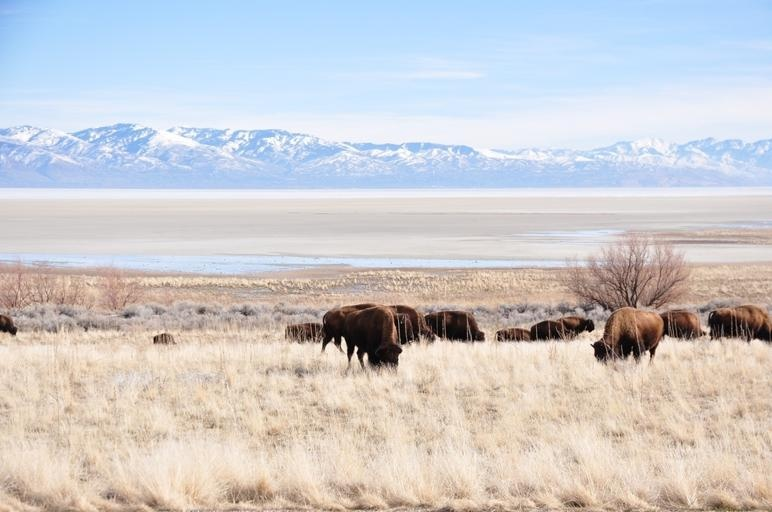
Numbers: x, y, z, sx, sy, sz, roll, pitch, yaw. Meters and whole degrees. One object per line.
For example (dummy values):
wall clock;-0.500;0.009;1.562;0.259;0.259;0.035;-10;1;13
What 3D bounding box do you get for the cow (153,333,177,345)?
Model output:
cow;-14.944;5.741;86.501;1.617;0.649;2.044;-2;4;-10
